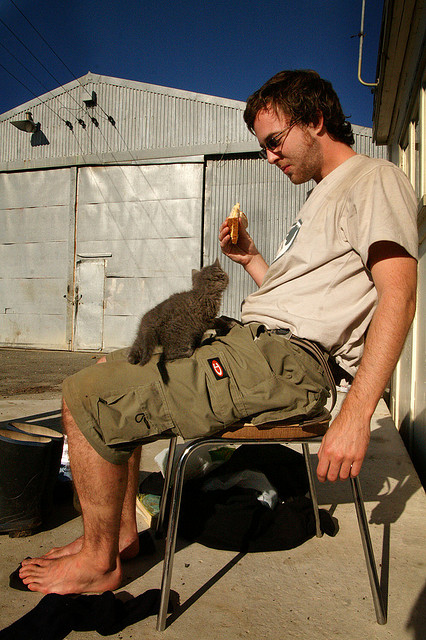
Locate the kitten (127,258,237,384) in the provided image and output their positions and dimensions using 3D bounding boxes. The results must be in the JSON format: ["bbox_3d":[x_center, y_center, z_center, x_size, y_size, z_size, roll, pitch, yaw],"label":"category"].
[{"bbox_3d":[-0.081,-0.017,2.316,0.373,0.371,0.901,2,6,10],"label":"kitten"}]

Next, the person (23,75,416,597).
[{"bbox_3d":[-0.004,0.049,2.260,1.459,1.884,1.102,-1,-4,7],"label":"person"}]

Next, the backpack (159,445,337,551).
[{"bbox_3d":[0.153,0.810,2.520,0.521,0.158,0.534,-9,13,-2],"label":"backpack"}]

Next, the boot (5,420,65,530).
[{"bbox_3d":[-0.733,0.685,2.602,0.298,0.385,0.418,2,4,10],"label":"boot"}]

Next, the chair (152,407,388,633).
[{"bbox_3d":[0.176,0.644,2.373,0.775,1.146,0.703,-1,8,2],"label":"chair"}]
